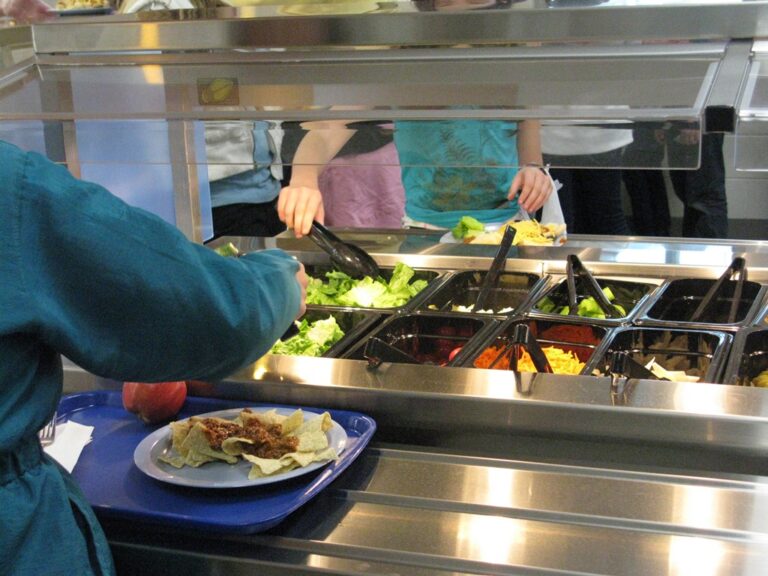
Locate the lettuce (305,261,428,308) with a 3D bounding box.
[{"bbox_3d":[-0.064,-0.005,1.709,0.344,0.086,0.236,2,16,10],"label":"lettuce"}]

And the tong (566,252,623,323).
[{"bbox_3d":[0.494,0.001,1.596,0.092,0.067,0.305,13,24,-15],"label":"tong"}]

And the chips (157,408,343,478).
[{"bbox_3d":[-0.232,0.257,1.096,0.334,0.048,0.186,7,23,20],"label":"chips"}]

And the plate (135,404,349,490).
[{"bbox_3d":[-0.239,0.279,1.078,0.215,0.081,0.257,7,13,42],"label":"plate"}]

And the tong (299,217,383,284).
[{"bbox_3d":[-0.103,-0.122,1.798,0.216,0.157,0.259,-13,20,-33],"label":"tong"}]

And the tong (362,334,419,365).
[{"bbox_3d":[0.007,0.123,1.274,0.102,0.032,0.059,17,-12,-22],"label":"tong"}]

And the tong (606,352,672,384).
[{"bbox_3d":[0.499,0.157,1.220,0.152,0.043,0.026,16,-18,-19],"label":"tong"}]

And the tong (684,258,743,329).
[{"bbox_3d":[0.815,0.019,1.542,0.085,0.149,0.145,29,38,-12],"label":"tong"}]
